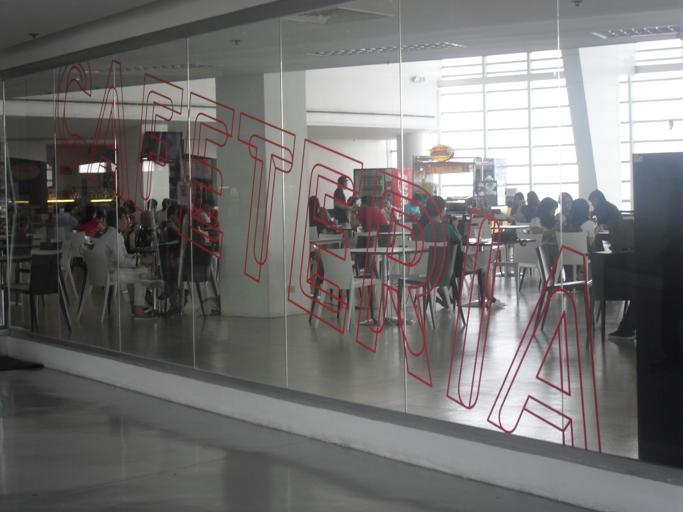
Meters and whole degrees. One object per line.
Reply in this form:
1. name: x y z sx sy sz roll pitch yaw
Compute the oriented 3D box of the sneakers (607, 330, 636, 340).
1. sneakers: 1.775 0.480 3.574 0.148 0.056 0.065 4 8 38
